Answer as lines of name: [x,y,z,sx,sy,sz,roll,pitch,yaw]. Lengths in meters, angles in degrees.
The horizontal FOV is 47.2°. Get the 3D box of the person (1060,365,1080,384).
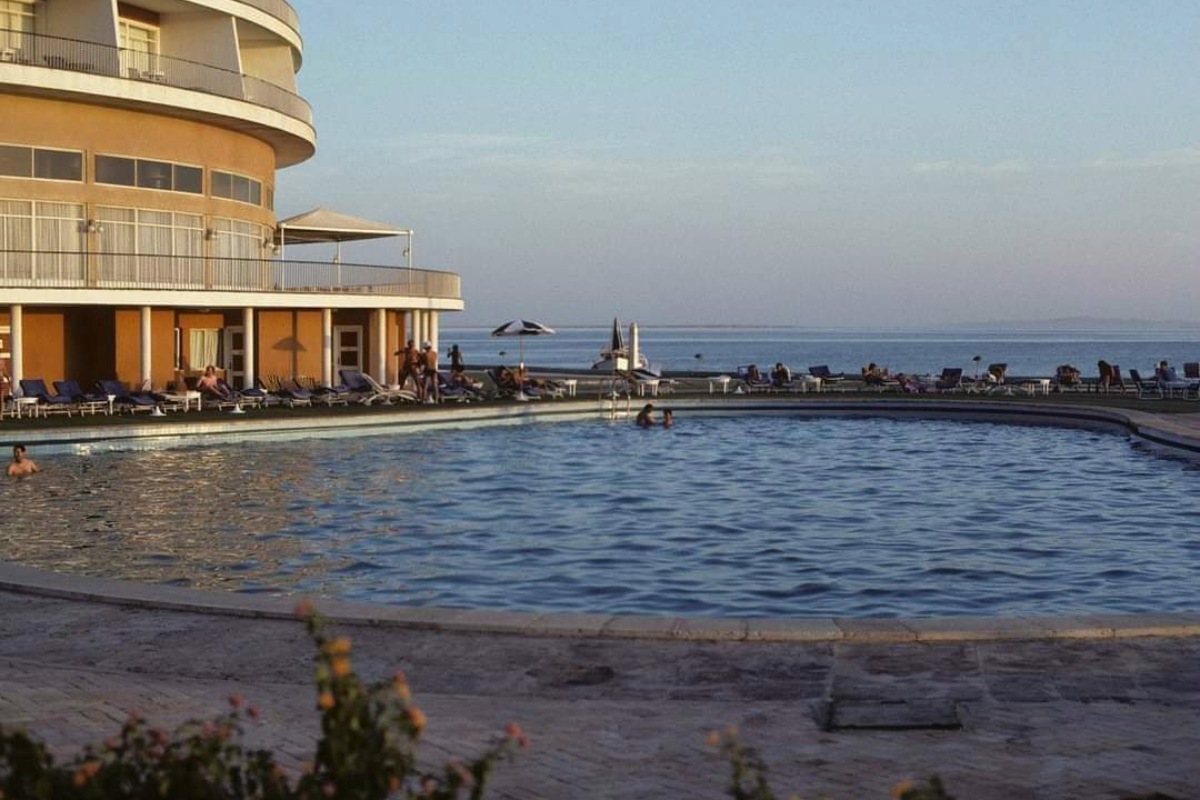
person: [14.230,-0.778,41.686,0.378,0.537,0.842,-3,2,20]

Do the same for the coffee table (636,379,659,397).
coffee table: [1.552,-0.401,43.074,0.595,0.541,0.541,-1,-1,-7]

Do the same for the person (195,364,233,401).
person: [-9.484,-0.478,34.484,1.009,0.875,1.870,0,3,-35]

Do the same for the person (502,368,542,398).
person: [-2.295,-0.528,40.231,0.925,0.459,1.059,0,4,-9]

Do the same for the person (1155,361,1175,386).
person: [16.306,-0.810,39.823,0.507,0.561,2.412,-3,2,22]

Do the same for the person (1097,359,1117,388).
person: [15.432,-0.804,41.882,0.536,0.872,3.350,-3,2,20]

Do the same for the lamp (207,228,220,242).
lamp: [-10.447,-4.538,37.649,0.385,0.302,0.247,0,1,4]

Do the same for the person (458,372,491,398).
person: [-3.717,-0.358,40.230,0.789,0.357,1.082,20,5,-36]

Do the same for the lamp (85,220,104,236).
lamp: [-12.670,-4.382,34.746,0.206,0.330,0.509,-4,2,17]

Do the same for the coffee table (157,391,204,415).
coffee table: [-10.174,-0.003,33.695,0.910,0.424,2.401,-4,3,-15]

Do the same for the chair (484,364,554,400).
chair: [-2.102,-0.580,40.519,1.675,0.625,1.156,0,-1,-21]
